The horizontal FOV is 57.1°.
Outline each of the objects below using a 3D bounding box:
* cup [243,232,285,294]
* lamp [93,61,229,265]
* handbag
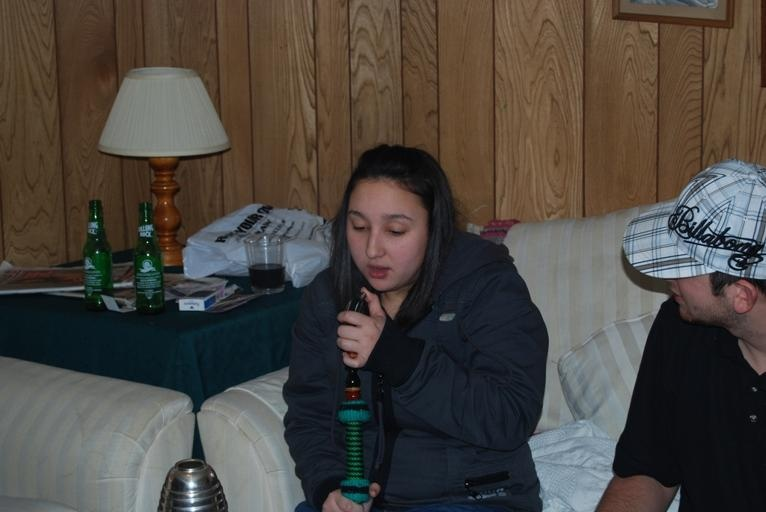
[{"bbox_3d":[-0.408,0.025,2.448,0.165,0.214,0.174,-5,-2,0],"label":"cup"},{"bbox_3d":[-0.879,-0.352,2.861,0.449,0.794,0.476,14,21,29],"label":"lamp"},{"bbox_3d":[-0.479,-0.060,2.635,0.368,0.137,0.378,17,26,38],"label":"handbag"}]
